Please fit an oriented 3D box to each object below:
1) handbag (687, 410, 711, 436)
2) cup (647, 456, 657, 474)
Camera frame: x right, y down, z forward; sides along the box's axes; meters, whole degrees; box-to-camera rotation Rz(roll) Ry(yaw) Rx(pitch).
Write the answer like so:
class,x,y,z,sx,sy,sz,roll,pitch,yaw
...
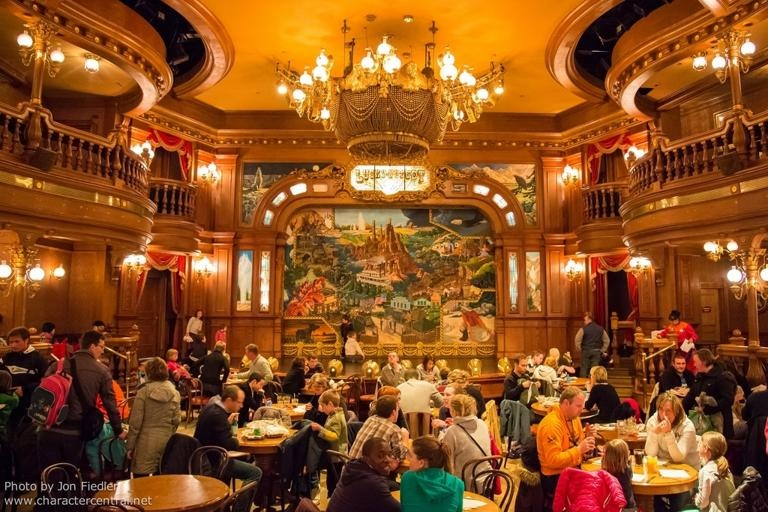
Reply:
class,x,y,z,sx,sy,sz,roll,pitch,yaw
handbag,4.596,2.451,8.620,0.435,0.418,0.186,-4,-10,8
cup,3.483,2.733,7.690,0.115,0.223,0.237,-8,-14,43
